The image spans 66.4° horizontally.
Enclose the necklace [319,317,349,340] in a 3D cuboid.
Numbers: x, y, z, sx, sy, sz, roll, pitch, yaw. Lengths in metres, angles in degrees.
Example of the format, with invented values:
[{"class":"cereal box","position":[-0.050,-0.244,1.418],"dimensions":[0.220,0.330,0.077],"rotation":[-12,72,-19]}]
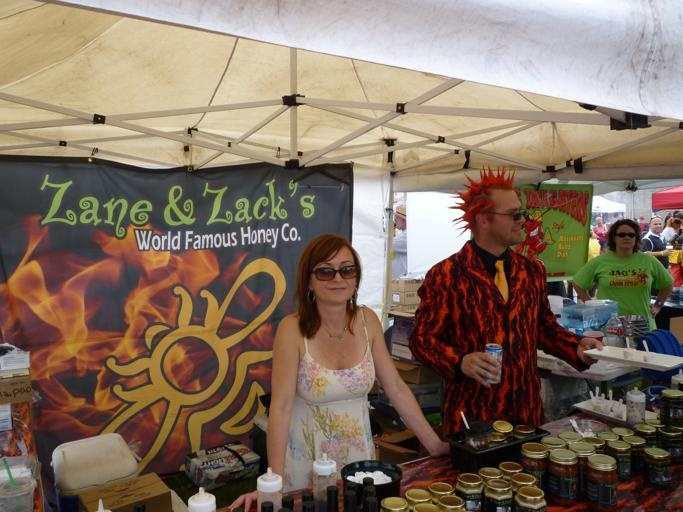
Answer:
[{"class":"necklace","position":[-0.010,0.381,2.732],"dimensions":[0.133,0.147,0.093],"rotation":[0,-11,-29]}]

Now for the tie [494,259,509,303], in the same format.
[{"class":"tie","position":[0.900,0.144,3.067],"dimensions":[0.067,0.236,0.099],"rotation":[-3,-4,16]}]

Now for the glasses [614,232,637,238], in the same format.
[{"class":"glasses","position":[2.840,-0.216,5.537],"dimensions":[0.175,0.060,0.083],"rotation":[-2,-4,16]}]
